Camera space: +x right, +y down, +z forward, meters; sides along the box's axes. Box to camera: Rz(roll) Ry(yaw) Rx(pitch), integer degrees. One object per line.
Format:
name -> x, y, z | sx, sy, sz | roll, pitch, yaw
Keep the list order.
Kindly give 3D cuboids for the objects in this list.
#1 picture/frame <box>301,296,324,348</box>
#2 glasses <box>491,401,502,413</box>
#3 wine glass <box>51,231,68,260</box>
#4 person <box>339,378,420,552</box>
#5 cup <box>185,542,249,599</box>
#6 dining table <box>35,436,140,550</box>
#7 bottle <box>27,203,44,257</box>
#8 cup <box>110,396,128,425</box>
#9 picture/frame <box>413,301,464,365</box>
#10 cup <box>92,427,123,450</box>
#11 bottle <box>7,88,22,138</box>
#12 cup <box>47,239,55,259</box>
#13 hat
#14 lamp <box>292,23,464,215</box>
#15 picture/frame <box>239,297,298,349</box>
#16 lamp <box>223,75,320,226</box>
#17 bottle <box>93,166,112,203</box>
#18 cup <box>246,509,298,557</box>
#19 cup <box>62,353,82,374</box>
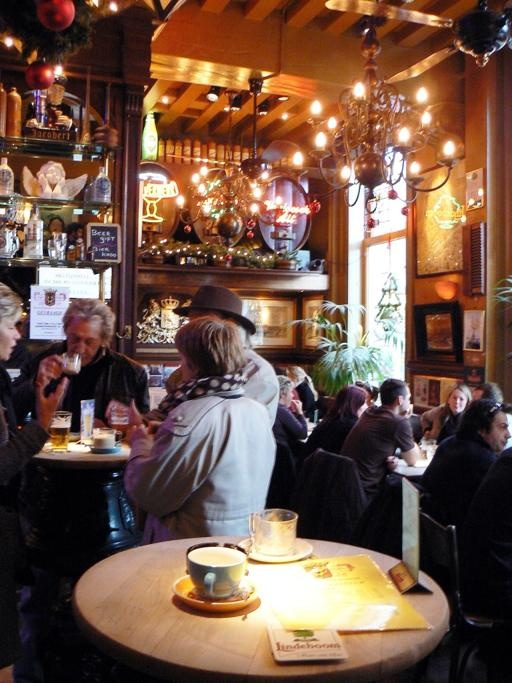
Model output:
picture/frame -> 0.793, -0.246, 7.901 | 0.429, 0.698, 0.024 | -2, 4, -39
glasses -> 1.112, 0.301, 2.641 | 0.050, 0.047, 0.047 | 19, -32, -26
wine glass -> -1.328, -0.623, 3.822 | 0.105, 0.208, 0.158 | 0, -2, -20
person -> 0.794, 0.758, 3.631 | 0.612, 1.033, 0.460 | -9, 20, -28
cup -> -0.067, 0.423, 1.071 | 0.102, 0.066, 0.157 | 2, -2, 19
dining table -> -0.727, 0.693, 2.468 | 0.430, 0.402, 0.395 | -1, -6, -15
bottle -> -1.472, -0.717, 3.771 | 0.111, 0.386, 0.199 | 0, -3, -24
cup -> -0.585, 0.309, 2.437 | 0.086, 0.074, 0.102 | 2, -6, -11
picture/frame -> 1.735, -0.103, 5.398 | 0.076, 0.530, 0.636 | -5, 2, -17
cup -> -0.594, 0.384, 2.264 | 0.105, 0.070, 0.075 | 2, -4, -14
bottle -> -1.564, -1.451, 3.684 | 0.086, 0.347, 0.129 | 0, -3, -26
cup -> -1.354, -0.600, 3.767 | 0.081, 0.142, 0.046 | -3, -3, 42
hat -> -0.210, -0.170, 2.618 | 0.348, 0.139, 0.385 | 1, -5, 8
lamp -> 0.647, -1.267, 3.259 | 0.777, 0.942, 0.760 | 2, 8, 22
picture/frame -> 0.156, -0.215, 6.910 | 0.658, 0.709, 0.053 | -11, 4, -26
lamp -> 0.088, -1.640, 4.940 | 0.955, 1.129, 1.042 | 10, 14, 22
bottle -> -1.054, -1.078, 3.941 | 0.103, 0.318, 0.225 | -1, -2, -7
cup -> 0.038, 0.426, 1.284 | 0.104, 0.079, 0.106 | 1, -9, 0
cup -> -0.700, 0.086, 2.170 | 0.077, 0.077, 0.072 | 1, -6, 0
